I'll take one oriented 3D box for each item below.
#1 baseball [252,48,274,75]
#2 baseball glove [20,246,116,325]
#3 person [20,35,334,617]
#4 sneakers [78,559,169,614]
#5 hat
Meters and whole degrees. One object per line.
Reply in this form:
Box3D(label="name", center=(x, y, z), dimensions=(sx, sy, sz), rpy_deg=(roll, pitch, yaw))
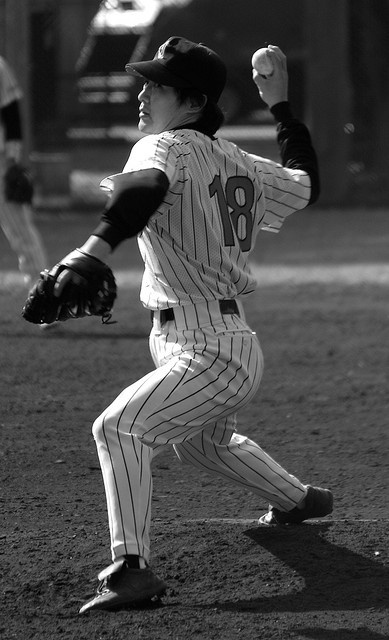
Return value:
Box3D(label="baseball", center=(0.192, -0.785, 2.274), dimensions=(0.048, 0.075, 0.069), rpy_deg=(-6, 11, 40))
Box3D(label="baseball glove", center=(-0.281, -0.076, 1.523), dimensions=(0.184, 0.135, 0.084), rpy_deg=(-23, 55, -4))
Box3D(label="person", center=(-0.001, -0.087, 1.875), dimensions=(0.331, 1.437, 0.989), rpy_deg=(4, 6, 37))
Box3D(label="sneakers", center=(-0.147, 0.566, 1.641), dimensions=(0.240, 0.099, 0.073), rpy_deg=(-9, 12, -5))
Box3D(label="hat", center=(-0.045, -0.612, 1.822), dimensions=(0.217, 0.109, 0.146), rpy_deg=(23, 11, -16))
